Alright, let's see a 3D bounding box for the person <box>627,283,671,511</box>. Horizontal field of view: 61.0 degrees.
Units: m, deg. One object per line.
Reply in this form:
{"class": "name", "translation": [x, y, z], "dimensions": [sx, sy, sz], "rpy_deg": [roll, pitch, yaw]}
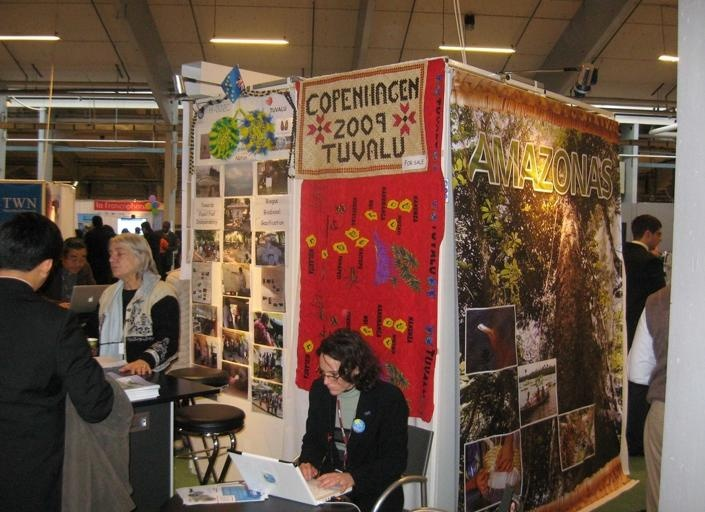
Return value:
{"class": "person", "translation": [1.712, 0.833, 3.430], "dimensions": [0.213, 1.312, 0.578], "rpy_deg": [-1, -1, 24]}

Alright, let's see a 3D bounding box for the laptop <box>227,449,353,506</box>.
{"class": "laptop", "translation": [-0.310, 0.951, 2.752], "dimensions": [0.300, 0.202, 0.296], "rpy_deg": [-5, -1, 41]}

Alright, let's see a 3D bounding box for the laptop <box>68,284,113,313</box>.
{"class": "laptop", "translation": [-2.211, 0.363, 5.062], "dimensions": [0.186, 0.192, 0.262], "rpy_deg": [40, 24, 30]}
